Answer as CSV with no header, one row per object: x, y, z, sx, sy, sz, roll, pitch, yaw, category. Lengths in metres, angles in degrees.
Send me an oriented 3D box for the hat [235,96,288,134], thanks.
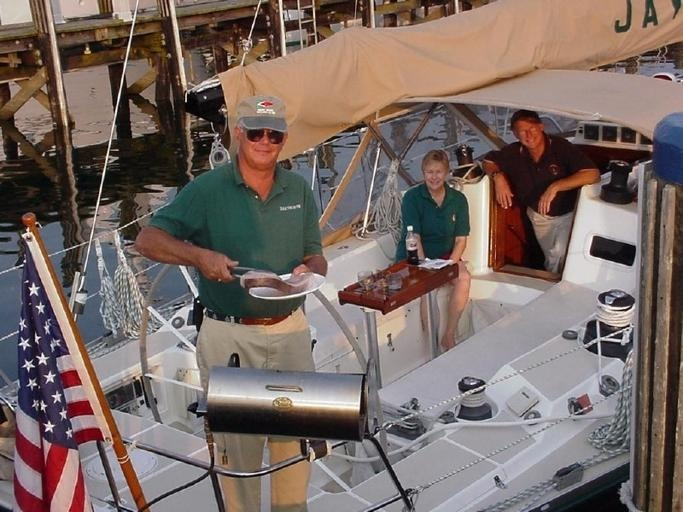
-0.313,-0.600,2.984,0.191,0.120,0.252,-3,33,-16,hat

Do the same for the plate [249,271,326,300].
-0.185,0.120,2.745,0.204,0.074,0.280,1,15,25,plate

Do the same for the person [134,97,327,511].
-0.336,0.237,3.047,0.586,1.739,0.741,8,20,45,person

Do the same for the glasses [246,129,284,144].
-0.301,-0.475,2.934,0.150,0.074,0.030,-7,14,-5,glasses

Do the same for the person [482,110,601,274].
1.380,-0.296,5.133,0.823,1.421,0.484,4,27,44,person

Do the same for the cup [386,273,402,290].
0.312,0.149,4.231,0.081,0.058,0.080,2,23,-1,cup

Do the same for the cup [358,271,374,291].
0.160,0.144,4.259,0.098,0.108,0.093,-3,12,1,cup

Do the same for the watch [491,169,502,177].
1.064,-0.568,5.038,0.069,0.021,0.064,1,40,-3,watch

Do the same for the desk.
0.386,0.425,4.454,0.314,0.668,0.710,14,27,40,desk
